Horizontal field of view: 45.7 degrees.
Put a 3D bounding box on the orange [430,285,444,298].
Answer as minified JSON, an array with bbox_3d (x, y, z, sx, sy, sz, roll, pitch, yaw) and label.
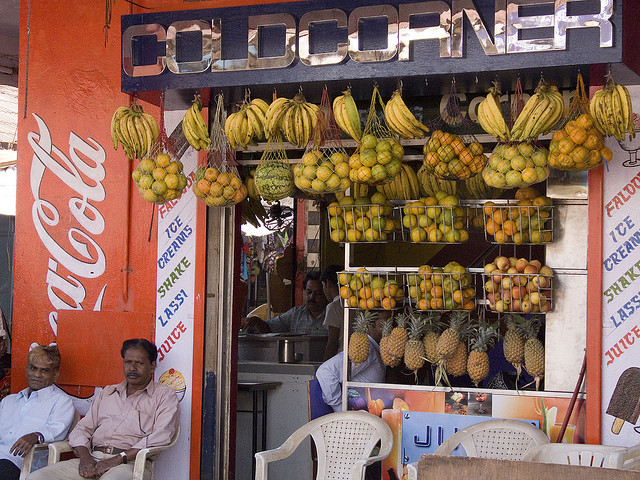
[{"bbox_3d":[0.876,0.393,5.732,0.079,0.094,0.087,-1,-4,-28],"label":"orange"}]

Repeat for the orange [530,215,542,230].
[{"bbox_3d":[1.580,-0.128,5.590,0.076,0.107,0.030,-2,-5,15],"label":"orange"}]

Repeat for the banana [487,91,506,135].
[{"bbox_3d":[1.197,-0.858,5.161,0.075,0.359,0.131,-22,-30,34],"label":"banana"}]

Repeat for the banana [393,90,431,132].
[{"bbox_3d":[0.678,-0.954,5.631,0.061,0.348,0.115,-41,-8,30],"label":"banana"}]

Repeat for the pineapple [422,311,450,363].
[{"bbox_3d":[0.939,0.758,6.026,0.229,0.452,0.221,6,-16,-21],"label":"pineapple"}]

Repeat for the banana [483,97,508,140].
[{"bbox_3d":[1.205,-0.835,5.276,0.125,0.362,0.069,-9,-16,-36],"label":"banana"}]

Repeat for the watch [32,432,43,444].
[{"bbox_3d":[-2.197,1.551,5.931,0.058,0.080,0.035,2,-5,-27],"label":"watch"}]

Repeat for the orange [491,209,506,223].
[{"bbox_3d":[1.314,-0.173,5.641,0.084,0.111,0.087,-3,-22,26],"label":"orange"}]

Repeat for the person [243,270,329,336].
[{"bbox_3d":[-0.310,0.590,9.444,0.951,0.789,0.885,-6,-5,5],"label":"person"}]

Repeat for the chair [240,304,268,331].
[{"bbox_3d":[-0.876,1.056,10.282,0.286,0.329,0.224,2,-13,0],"label":"chair"}]

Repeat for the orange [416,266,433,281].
[{"bbox_3d":[0.791,0.256,5.807,0.094,0.107,0.101,13,1,15],"label":"orange"}]

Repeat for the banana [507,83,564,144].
[{"bbox_3d":[1.479,-0.861,5.217,0.137,0.442,0.181,35,-9,-1],"label":"banana"}]

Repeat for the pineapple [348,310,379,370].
[{"bbox_3d":[0.347,0.803,6.157,0.212,0.471,0.205,0,2,22],"label":"pineapple"}]

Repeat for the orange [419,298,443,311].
[{"bbox_3d":[0.827,0.502,5.767,0.131,0.087,0.060,0,-2,15],"label":"orange"}]

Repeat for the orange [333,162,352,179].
[{"bbox_3d":[0.155,-0.495,5.441,0.104,0.118,0.095,0,-1,-36],"label":"orange"}]

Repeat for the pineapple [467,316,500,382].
[{"bbox_3d":[1.239,0.867,5.837,0.202,0.487,0.228,11,-7,-34],"label":"pineapple"}]

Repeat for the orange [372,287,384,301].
[{"bbox_3d":[0.439,0.423,5.906,0.080,0.091,0.086,8,-26,-22],"label":"orange"}]

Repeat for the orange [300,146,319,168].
[{"bbox_3d":[-0.076,-0.595,5.512,0.138,0.125,0.111,-5,-10,-4],"label":"orange"}]

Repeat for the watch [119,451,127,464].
[{"bbox_3d":[-1.495,1.662,5.778,0.049,0.083,0.080,6,0,-17],"label":"watch"}]

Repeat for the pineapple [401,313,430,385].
[{"bbox_3d":[0.728,0.842,5.927,0.121,0.472,0.152,1,2,-39],"label":"pineapple"}]

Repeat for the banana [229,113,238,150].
[{"bbox_3d":[-0.653,-0.809,5.718,0.076,0.258,0.048,9,13,28],"label":"banana"}]

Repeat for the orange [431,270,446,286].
[{"bbox_3d":[0.877,0.292,5.737,0.092,0.124,0.104,-8,33,8],"label":"orange"}]

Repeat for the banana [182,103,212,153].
[{"bbox_3d":[-0.949,-0.850,5.917,0.204,0.170,0.462,-35,-26,-33],"label":"banana"}]

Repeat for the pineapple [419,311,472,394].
[{"bbox_3d":[0.972,0.857,5.822,0.256,0.570,0.241,2,2,44],"label":"pineapple"}]

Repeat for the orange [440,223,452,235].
[{"bbox_3d":[0.927,-0.082,5.699,0.062,0.087,0.067,-6,-3,10],"label":"orange"}]

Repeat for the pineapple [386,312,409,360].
[{"bbox_3d":[0.626,0.760,6.051,0.183,0.379,0.193,13,-9,-14],"label":"pineapple"}]
